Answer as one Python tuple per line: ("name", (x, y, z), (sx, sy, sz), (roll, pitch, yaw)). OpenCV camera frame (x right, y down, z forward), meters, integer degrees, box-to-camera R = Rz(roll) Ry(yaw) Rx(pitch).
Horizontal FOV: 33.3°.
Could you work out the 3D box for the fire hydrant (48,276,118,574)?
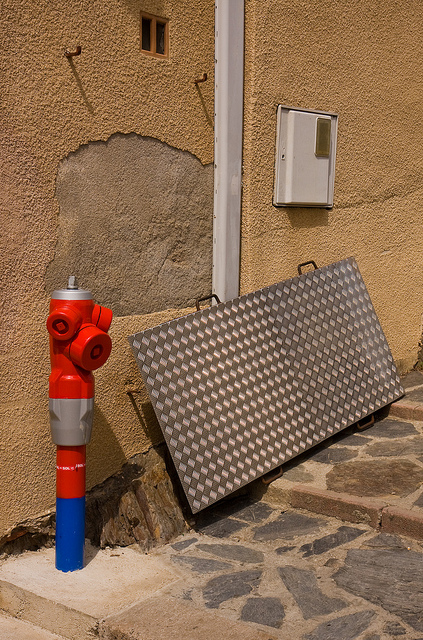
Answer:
("fire hydrant", (-0.594, 0.502, 3.241), (0.329, 1.260, 0.434), (-4, 21, 0))
